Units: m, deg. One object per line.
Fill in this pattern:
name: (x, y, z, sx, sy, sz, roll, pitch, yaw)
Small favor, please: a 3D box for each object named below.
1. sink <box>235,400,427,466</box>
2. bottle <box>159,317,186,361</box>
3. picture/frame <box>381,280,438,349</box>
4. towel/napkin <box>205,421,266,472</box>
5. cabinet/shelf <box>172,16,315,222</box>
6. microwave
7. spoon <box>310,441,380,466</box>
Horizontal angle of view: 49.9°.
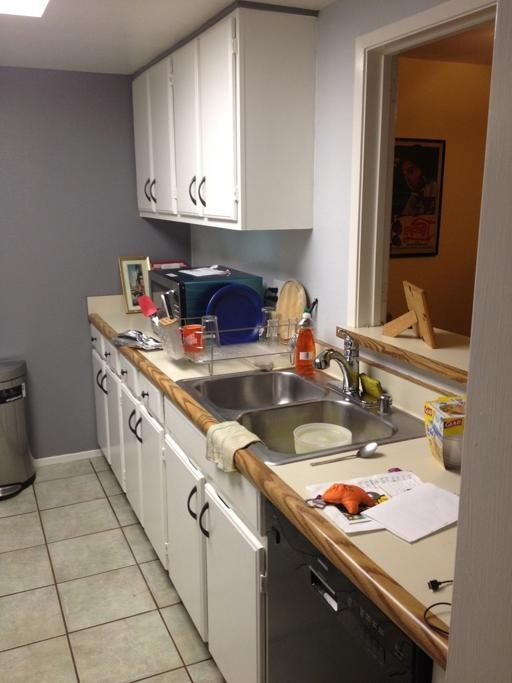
sink: (0.187, 0.239, 1.626, 0.306, 0.119, 0.246, -10, 27, -15)
bottle: (-0.335, -0.017, 2.138, 0.106, 0.163, 0.101, -1, 12, 0)
picture/frame: (0.572, -0.115, 2.105, 0.169, 0.230, 0.315, -12, 24, 1)
towel/napkin: (-0.063, 0.246, 1.391, 0.101, 0.049, 0.142, -15, 32, -27)
cabinet/shelf: (-0.034, -0.847, 2.366, 0.309, 0.753, 0.871, -3, 10, -14)
microwave: (-0.198, -0.178, 2.472, 0.504, 0.278, 0.829, -3, 12, -9)
spoon: (0.227, 0.271, 1.324, 0.211, 0.021, 0.052, -7, 14, -28)
